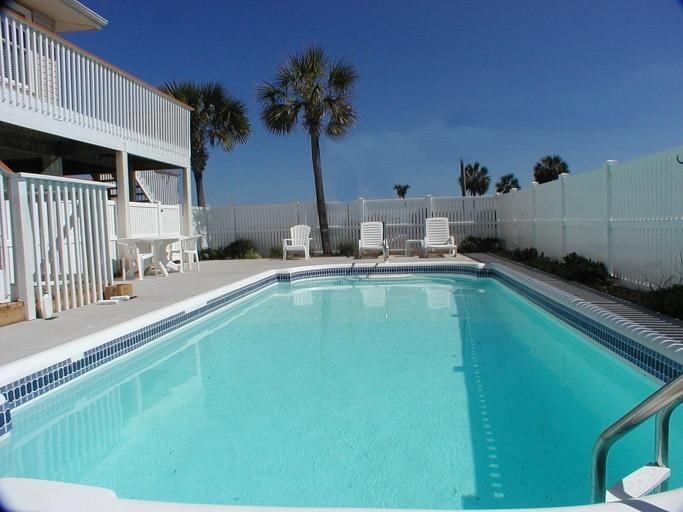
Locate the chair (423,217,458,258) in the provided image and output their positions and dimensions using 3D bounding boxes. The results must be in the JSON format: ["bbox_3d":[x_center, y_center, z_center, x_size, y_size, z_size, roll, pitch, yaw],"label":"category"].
[{"bbox_3d":[3.059,-0.581,13.967,0.940,1.231,2.706,0,7,12],"label":"chair"}]

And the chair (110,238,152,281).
[{"bbox_3d":[-4.721,0.021,9.902,0.745,0.949,1.912,-5,8,-28],"label":"chair"}]

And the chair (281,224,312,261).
[{"bbox_3d":[-1.540,-0.460,13.851,0.808,1.244,1.226,0,2,6],"label":"chair"}]

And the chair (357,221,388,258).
[{"bbox_3d":[0.938,-0.569,13.510,0.734,1.118,1.229,0,0,4],"label":"chair"}]

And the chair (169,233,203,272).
[{"bbox_3d":[-3.985,-0.101,11.372,0.610,0.883,0.633,0,-4,-42],"label":"chair"}]
